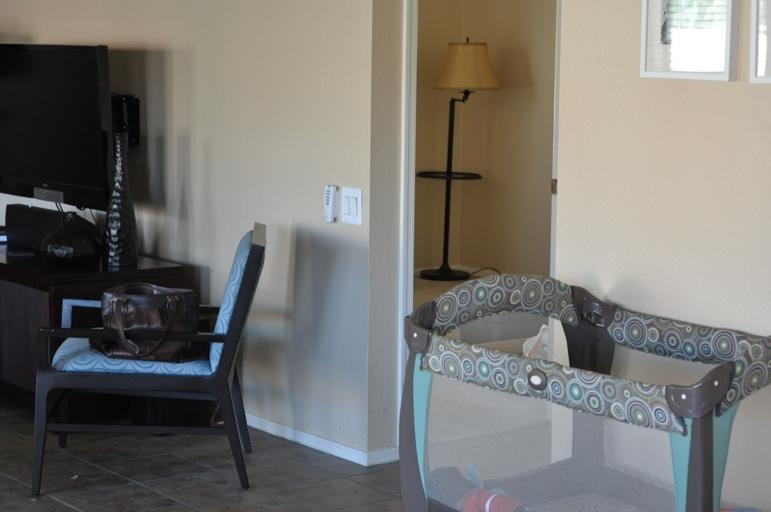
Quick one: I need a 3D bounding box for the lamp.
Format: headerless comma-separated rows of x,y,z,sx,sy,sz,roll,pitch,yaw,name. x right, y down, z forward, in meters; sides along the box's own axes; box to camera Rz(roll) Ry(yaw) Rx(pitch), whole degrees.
0.638,-0.898,6.151,0.684,2.270,0.688,0,9,-5,lamp
